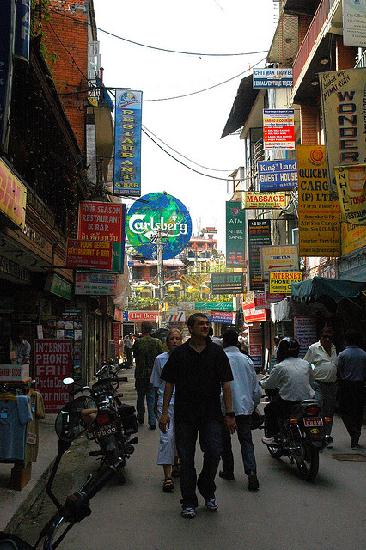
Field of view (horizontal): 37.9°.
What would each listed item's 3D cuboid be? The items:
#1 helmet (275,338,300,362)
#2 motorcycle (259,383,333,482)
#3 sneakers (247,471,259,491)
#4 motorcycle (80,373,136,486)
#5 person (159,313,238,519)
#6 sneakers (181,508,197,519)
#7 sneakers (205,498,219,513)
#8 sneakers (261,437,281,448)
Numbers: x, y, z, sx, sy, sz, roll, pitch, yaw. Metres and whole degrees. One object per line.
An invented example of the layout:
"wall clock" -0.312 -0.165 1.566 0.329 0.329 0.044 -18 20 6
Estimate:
"helmet" 1.284 0.894 6.508 0.202 0.326 0.291 4 7 0
"motorcycle" 1.272 1.775 5.800 0.310 0.821 1.000 2 -9 -13
"sneakers" 0.679 2.001 5.146 0.104 0.149 0.154 -1 -9 7
"motorcycle" -0.873 1.661 6.152 0.521 1.164 1.758 -10 -9 -9
"person" 0.113 1.130 4.430 0.615 1.630 0.352 0 -8 -4
"sneakers" 0.035 1.874 4.204 0.118 0.082 0.105 -3 -9 13
"sneakers" 0.238 1.901 4.427 0.106 0.097 0.162 -1 -9 4
"sneakers" 1.093 2.053 6.544 0.191 0.163 0.077 0 12 41
